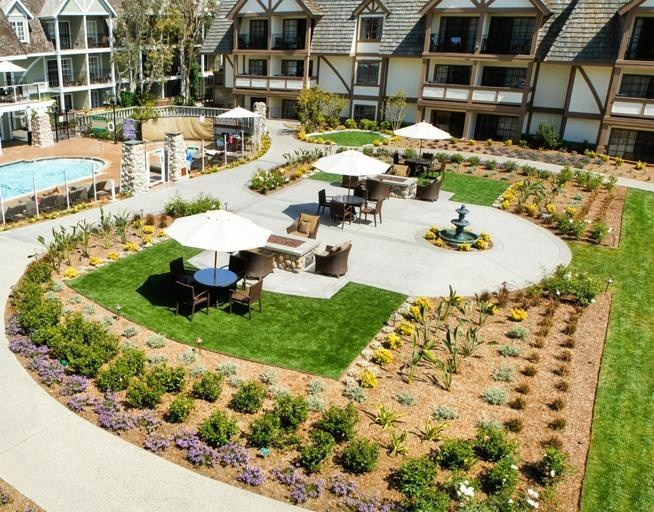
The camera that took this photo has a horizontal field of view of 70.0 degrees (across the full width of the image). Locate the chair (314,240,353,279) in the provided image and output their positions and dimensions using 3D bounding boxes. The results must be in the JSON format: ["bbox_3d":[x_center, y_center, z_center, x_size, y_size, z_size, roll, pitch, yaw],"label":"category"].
[{"bbox_3d":[0.206,0.088,16.821,1.088,1.171,1.062,11,23,21],"label":"chair"}]

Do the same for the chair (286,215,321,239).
[{"bbox_3d":[-0.988,-1.205,19.197,1.075,1.204,1.106,19,38,13],"label":"chair"}]

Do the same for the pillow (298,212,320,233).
[{"bbox_3d":[-0.648,-1.350,19.228,0.836,0.741,0.239,13,3,22],"label":"pillow"}]

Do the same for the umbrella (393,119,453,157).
[{"bbox_3d":[5.494,-6.878,27.340,3.741,2.394,3.415,3,22,4],"label":"umbrella"}]
